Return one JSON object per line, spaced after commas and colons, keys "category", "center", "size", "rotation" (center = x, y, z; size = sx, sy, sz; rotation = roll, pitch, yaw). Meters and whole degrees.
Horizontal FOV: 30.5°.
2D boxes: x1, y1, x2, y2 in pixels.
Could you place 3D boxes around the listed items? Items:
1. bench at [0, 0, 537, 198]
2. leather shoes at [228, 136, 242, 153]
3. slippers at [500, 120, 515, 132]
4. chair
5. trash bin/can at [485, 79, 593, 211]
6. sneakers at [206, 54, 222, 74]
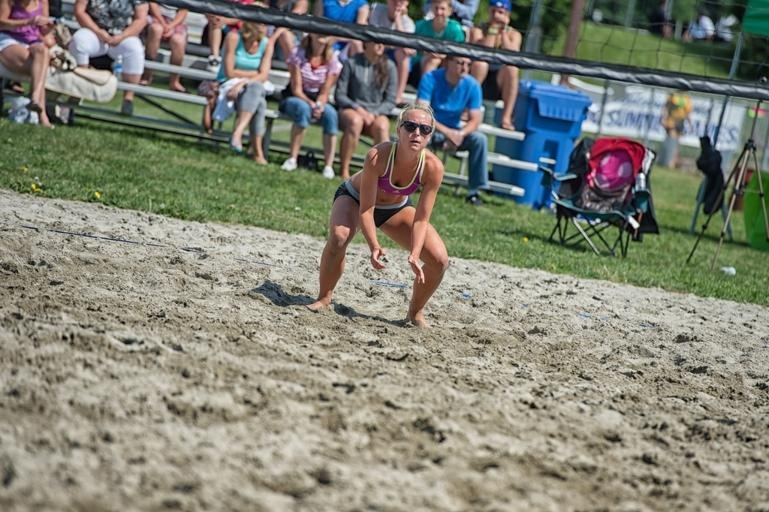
{"category": "bench", "center": [-1.443, -2.306, 19.758], "size": [7.458, 1.940, 1.834], "rotation": [10, 8, -10]}
{"category": "leather shoes", "center": [-2.002, -1.527, 19.044], "size": [0.168, 0.223, 0.503], "rotation": [-4, -2, -10]}
{"category": "slippers", "center": [1.754, -1.857, 19.963], "size": [0.196, 0.214, 0.105], "rotation": [0, 14, -4]}
{"category": "chair", "center": [2.750, -0.773, 17.765], "size": [1.271, 1.418, 1.098], "rotation": [11, 12, 26]}
{"category": "trash bin/can", "center": [2.137, -1.523, 19.551], "size": [1.043, 1.907, 1.179], "rotation": [10, 18, -23]}
{"category": "sneakers", "center": [-2.327, -2.635, 19.398], "size": [0.212, 0.227, 0.104], "rotation": [6, 49, -16]}
